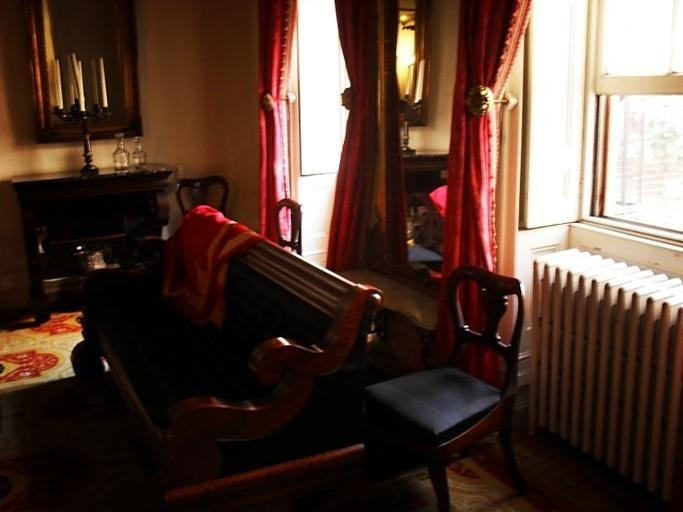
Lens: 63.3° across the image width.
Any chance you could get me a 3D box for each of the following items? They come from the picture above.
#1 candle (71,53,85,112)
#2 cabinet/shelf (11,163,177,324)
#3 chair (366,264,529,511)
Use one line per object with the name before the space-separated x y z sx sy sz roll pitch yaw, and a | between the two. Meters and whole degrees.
candle | -2.148 -1.407 4.473 0.102 0.441 0.394 -10 20 -22
cabinet/shelf | -1.950 -0.104 4.179 1.133 1.059 0.434 -8 14 -31
chair | 0.475 0.601 2.441 0.648 0.977 0.464 -12 21 -28
